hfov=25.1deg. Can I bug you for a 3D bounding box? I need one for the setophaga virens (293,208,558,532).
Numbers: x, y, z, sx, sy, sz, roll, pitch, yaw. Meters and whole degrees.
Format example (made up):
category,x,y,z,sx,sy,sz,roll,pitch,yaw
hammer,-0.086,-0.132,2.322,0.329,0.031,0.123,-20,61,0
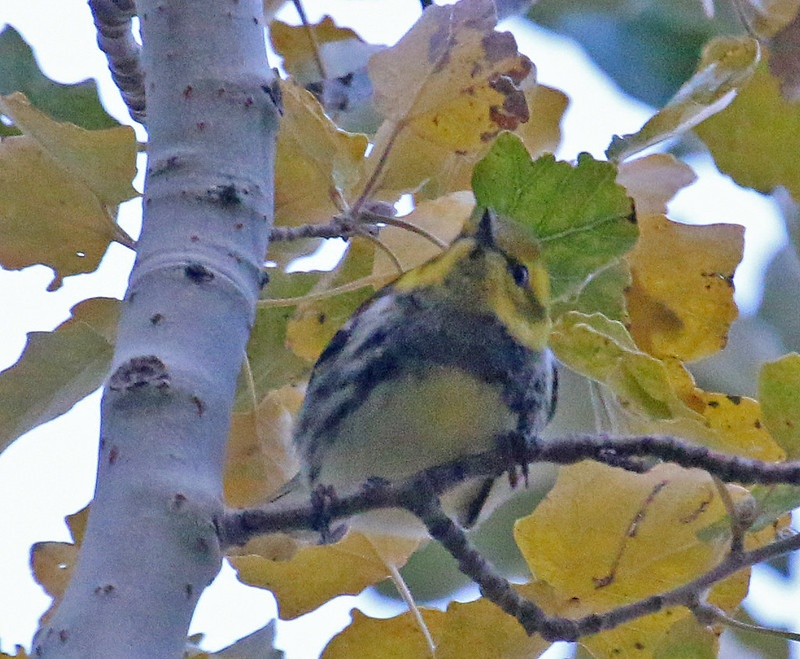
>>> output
category,x,y,z,sx,sy,sz,roll,pitch,yaw
setophaga virens,0.013,0.062,1.402,0.143,0.281,0.125,24,25,-11
